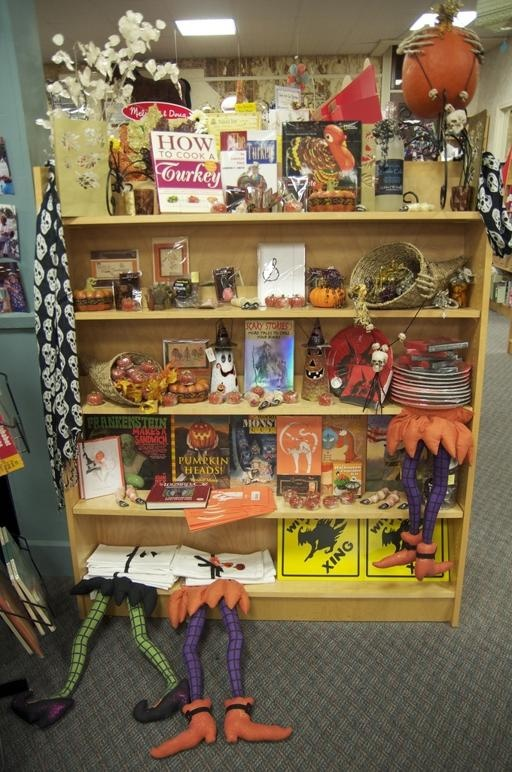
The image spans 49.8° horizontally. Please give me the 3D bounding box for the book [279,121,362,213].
[{"bbox_3d":[0.234,-0.765,1.930,0.277,0.334,0.002,1,-1,-3],"label":"book"}]

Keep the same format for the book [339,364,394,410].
[{"bbox_3d":[0.422,0.010,2.084,0.162,0.169,0.049,18,-1,42],"label":"book"}]

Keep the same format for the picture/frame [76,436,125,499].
[{"bbox_3d":[-0.632,0.327,2.219,0.231,0.315,0.052,-7,10,-28],"label":"picture/frame"}]

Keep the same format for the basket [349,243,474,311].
[{"bbox_3d":[0.559,-0.390,1.957,0.308,0.231,0.437,13,19,42],"label":"basket"}]

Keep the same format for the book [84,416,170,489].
[{"bbox_3d":[-0.531,0.259,2.243,0.305,0.307,0.043,2,31,3],"label":"book"}]

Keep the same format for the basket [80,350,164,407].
[{"bbox_3d":[-0.514,-0.018,2.146,0.293,0.155,0.182,32,31,29],"label":"basket"}]

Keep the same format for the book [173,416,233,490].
[{"bbox_3d":[-0.217,0.278,2.233,0.241,0.018,0.337,3,53,-11],"label":"book"}]

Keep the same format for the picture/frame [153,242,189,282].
[{"bbox_3d":[-0.328,-0.493,2.163,0.175,0.223,0.009,0,15,-3],"label":"picture/frame"}]

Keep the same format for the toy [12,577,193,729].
[{"bbox_3d":[-0.542,0.928,1.952,0.583,0.155,0.686,3,26,-12],"label":"toy"}]

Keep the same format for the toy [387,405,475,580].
[{"bbox_3d":[0.639,0.405,2.073,0.301,0.674,0.216,5,14,22],"label":"toy"}]

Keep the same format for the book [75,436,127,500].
[{"bbox_3d":[-0.631,0.328,2.217,0.235,0.321,0.052,-7,10,-27],"label":"book"}]

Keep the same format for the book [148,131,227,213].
[{"bbox_3d":[-0.235,-0.759,1.952,0.283,0.334,0.045,-3,12,-9],"label":"book"}]

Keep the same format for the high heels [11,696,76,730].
[{"bbox_3d":[-0.684,1.035,1.751,0.124,0.046,0.083,-10,37,-14],"label":"high heels"}]

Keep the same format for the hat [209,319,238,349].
[{"bbox_3d":[-0.127,-0.212,2.180,0.105,0.116,0.109,-3,15,-6],"label":"hat"}]

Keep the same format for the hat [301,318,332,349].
[{"bbox_3d":[0.223,-0.207,2.118,0.110,0.127,0.120,-2,23,-1],"label":"hat"}]
